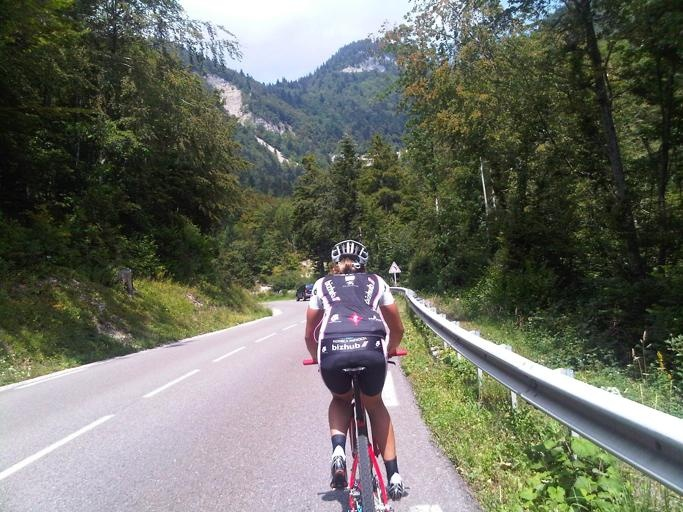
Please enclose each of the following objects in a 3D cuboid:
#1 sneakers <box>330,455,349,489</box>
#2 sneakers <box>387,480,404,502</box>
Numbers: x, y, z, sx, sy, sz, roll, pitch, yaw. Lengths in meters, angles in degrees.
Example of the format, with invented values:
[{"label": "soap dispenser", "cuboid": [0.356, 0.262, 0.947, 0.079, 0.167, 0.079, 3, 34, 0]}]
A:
[{"label": "sneakers", "cuboid": [-0.024, 2.656, 6.629, 0.205, 0.332, 0.165, -5, 2, -1]}, {"label": "sneakers", "cuboid": [0.653, 2.855, 6.602, 0.181, 0.165, 0.367, 1, -25, 4]}]
